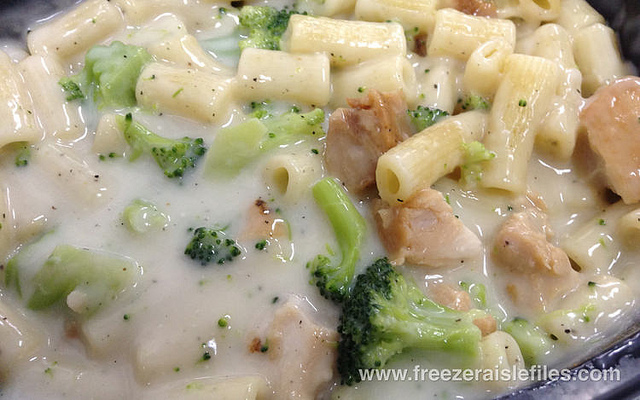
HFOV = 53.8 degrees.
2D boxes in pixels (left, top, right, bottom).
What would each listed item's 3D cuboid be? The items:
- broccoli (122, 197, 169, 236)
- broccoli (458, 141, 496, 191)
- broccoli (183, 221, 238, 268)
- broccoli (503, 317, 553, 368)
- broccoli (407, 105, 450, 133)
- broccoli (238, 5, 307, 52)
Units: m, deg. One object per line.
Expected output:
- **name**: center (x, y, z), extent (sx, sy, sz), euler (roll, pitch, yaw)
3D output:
- **broccoli**: center (-0.967, 0.070, 3.625), extent (0.239, 0.059, 0.193), euler (-24, 49, -22)
- **broccoli**: center (0.910, -0.205, 3.664), extent (0.204, 0.180, 0.245), euler (-1, 63, 3)
- **broccoli**: center (-0.612, 0.245, 3.553), extent (0.312, 0.090, 0.254), euler (4, 64, 5)
- **broccoli**: center (1.154, 0.794, 3.495), extent (0.246, 0.142, 0.205), euler (14, 48, -1)
- **broccoli**: center (0.676, -0.503, 3.873), extent (0.224, 0.305, 0.081), euler (-1, 94, 22)
- **broccoli**: center (-0.340, -1.112, 4.078), extent (0.338, 0.104, 0.362), euler (3, 63, -3)
